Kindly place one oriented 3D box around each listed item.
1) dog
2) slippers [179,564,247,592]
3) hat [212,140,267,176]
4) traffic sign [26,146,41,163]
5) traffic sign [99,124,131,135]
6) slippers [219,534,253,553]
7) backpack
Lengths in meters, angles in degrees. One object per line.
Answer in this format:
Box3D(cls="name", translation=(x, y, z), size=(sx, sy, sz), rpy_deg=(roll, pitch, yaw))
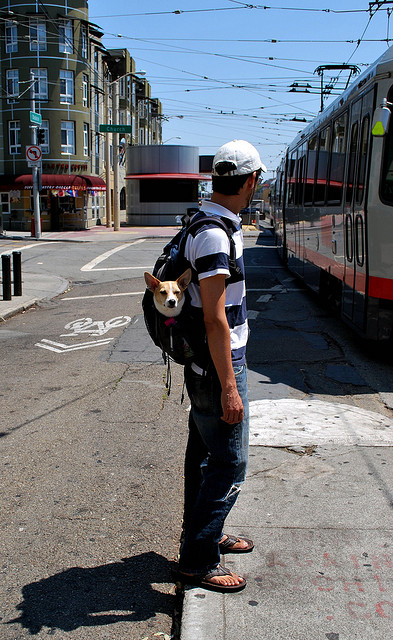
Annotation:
Box3D(cls="dog", translation=(-0.105, -0.103, 2.176), size=(0.174, 0.175, 0.229), rpy_deg=(-1, -1, 7))
Box3D(cls="slippers", translation=(0.070, 1.070, 2.291), size=(0.221, 0.085, 0.121), rpy_deg=(1, 3, 1))
Box3D(cls="hat", translation=(0.170, -0.651, 2.186), size=(0.209, 0.156, 0.143), rpy_deg=(-1, 6, 3))
Box3D(cls="traffic sign", translation=(-8.219, -8.432, 27.295), size=(0.675, 0.940, 0.798), rpy_deg=(-4, 6, -20))
Box3D(cls="traffic sign", translation=(-4.438, -10.505, 29.554), size=(1.804, 0.606, 0.624), rpy_deg=(2, 7, 28))
Box3D(cls="slippers", translation=(0.198, 1.093, 2.653), size=(0.156, 0.056, 0.080), rpy_deg=(0, 16, 4))
Box3D(cls="backpack", translation=(-0.041, -0.045, 2.241), size=(0.420, 0.730, 0.363), rpy_deg=(3, -3, -14))
